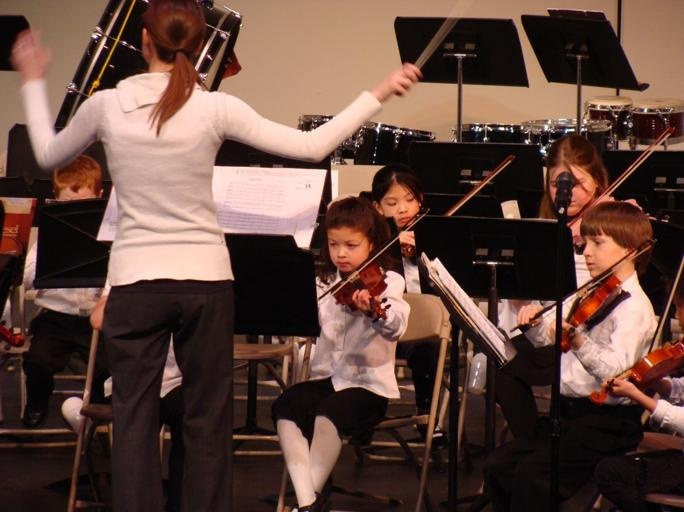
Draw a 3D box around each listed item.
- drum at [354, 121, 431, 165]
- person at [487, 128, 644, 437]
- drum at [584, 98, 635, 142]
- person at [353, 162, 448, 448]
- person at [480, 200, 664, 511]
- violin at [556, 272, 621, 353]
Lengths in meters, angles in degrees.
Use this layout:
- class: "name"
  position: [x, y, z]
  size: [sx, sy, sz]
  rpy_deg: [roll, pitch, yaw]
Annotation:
- class: "drum"
  position: [0.426, -1.019, 6.242]
  size: [0.592, 0.347, 0.581]
  rpy_deg: [9, 3, 0]
- class: "person"
  position: [1.028, 0.007, 3.151]
  size: [0.274, 1.706, 0.678]
  rpy_deg: [10, -22, -7]
- class: "drum"
  position: [2.563, -1.305, 6.533]
  size: [0.422, 0.399, 0.435]
  rpy_deg: [1, 8, 4]
- class: "person"
  position: [0.392, 0.196, 3.732]
  size: [0.483, 1.388, 0.218]
  rpy_deg: [-8, 0, -6]
- class: "person"
  position: [0.894, 0.351, 2.563]
  size: [0.497, 1.203, 0.699]
  rpy_deg: [0, -6, 35]
- class: "violin"
  position: [0.928, 0.188, 2.552]
  size: [0.108, 0.353, 0.186]
  rpy_deg: [39, -13, 1]
